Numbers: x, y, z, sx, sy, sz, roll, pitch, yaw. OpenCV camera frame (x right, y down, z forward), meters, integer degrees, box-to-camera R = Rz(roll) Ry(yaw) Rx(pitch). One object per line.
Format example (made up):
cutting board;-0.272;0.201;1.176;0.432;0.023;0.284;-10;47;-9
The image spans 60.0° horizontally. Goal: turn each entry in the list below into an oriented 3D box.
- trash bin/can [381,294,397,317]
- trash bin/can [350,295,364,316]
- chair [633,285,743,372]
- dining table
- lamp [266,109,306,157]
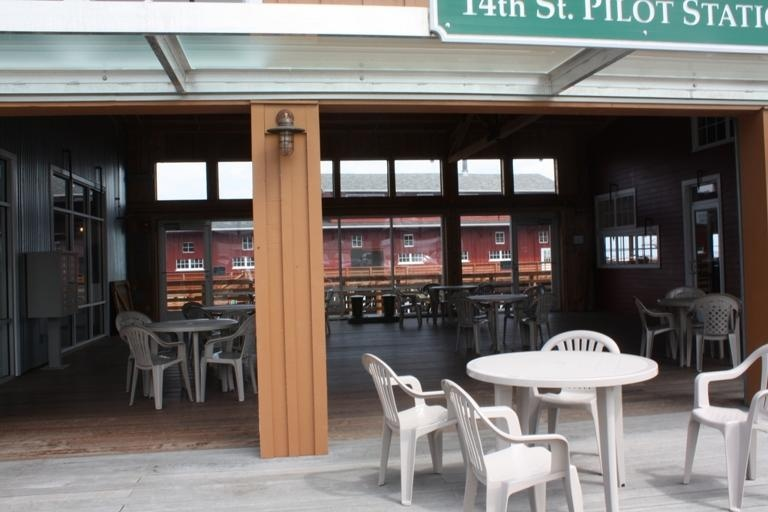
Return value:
trash bin/can;0.186;1.138;15.073;0.375;0.510;0.412;-1;-2;9
trash bin/can;-0.585;1.127;14.903;0.370;0.496;0.364;1;-6;-4
chair;4.277;0.938;9.439;1.259;0.891;1.322;0;4;3
dining table;1.515;1.554;5.648;1.268;1.019;1.324;-1;-4;0
lamp;-0.921;-1.154;6.443;0.412;0.529;0.405;-1;1;-11
